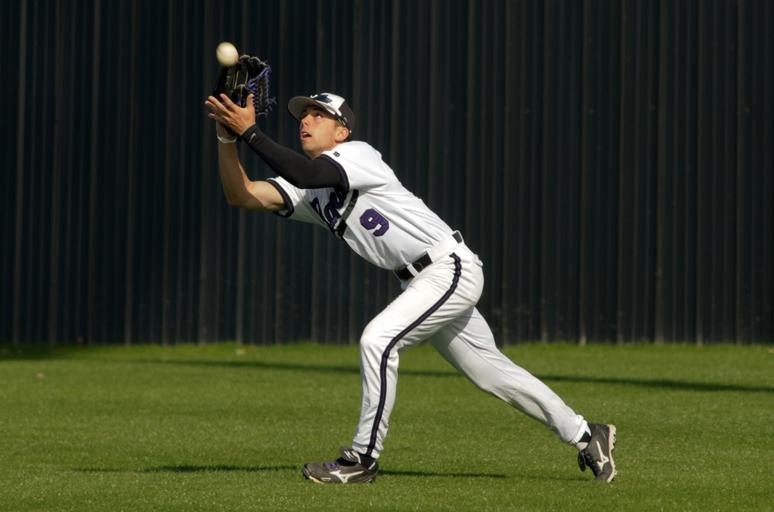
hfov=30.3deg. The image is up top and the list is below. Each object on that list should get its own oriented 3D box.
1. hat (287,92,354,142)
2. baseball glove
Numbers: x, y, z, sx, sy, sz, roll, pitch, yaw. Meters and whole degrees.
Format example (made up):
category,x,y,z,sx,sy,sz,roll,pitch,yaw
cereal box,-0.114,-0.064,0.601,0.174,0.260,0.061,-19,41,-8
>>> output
category,x,y,z,sx,sy,sz,roll,pitch,yaw
hat,-0.701,-1.535,14.871,0.571,0.307,0.421,36,-11,-23
baseball glove,-1.610,-1.731,14.700,0.595,0.830,0.332,21,-15,-34
